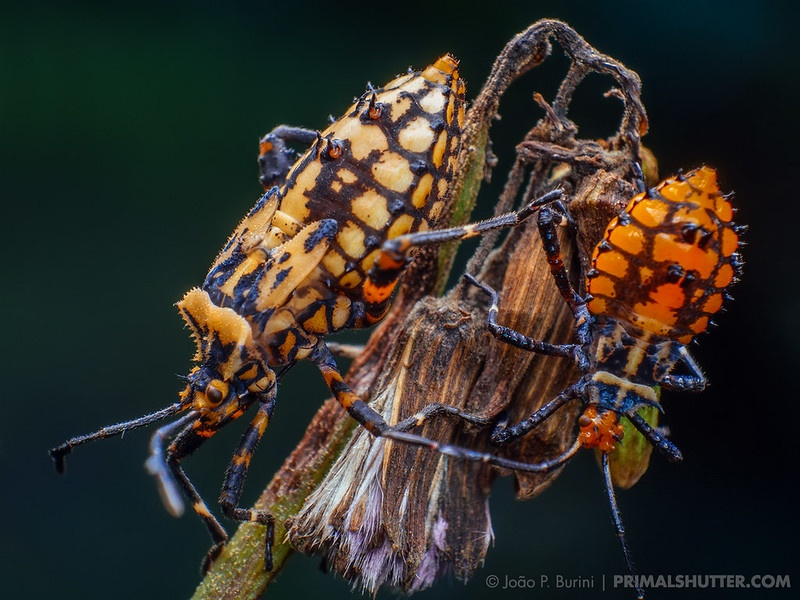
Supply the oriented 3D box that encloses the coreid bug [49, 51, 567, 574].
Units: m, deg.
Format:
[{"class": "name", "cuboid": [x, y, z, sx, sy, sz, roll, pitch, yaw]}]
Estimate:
[{"class": "coreid bug", "cuboid": [-0.307, -0.142, 4.969, 1.922, 2.206, 1.632, 1, 2, 24]}]
